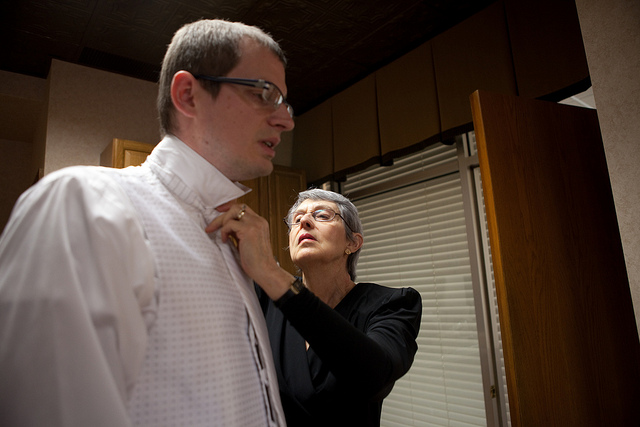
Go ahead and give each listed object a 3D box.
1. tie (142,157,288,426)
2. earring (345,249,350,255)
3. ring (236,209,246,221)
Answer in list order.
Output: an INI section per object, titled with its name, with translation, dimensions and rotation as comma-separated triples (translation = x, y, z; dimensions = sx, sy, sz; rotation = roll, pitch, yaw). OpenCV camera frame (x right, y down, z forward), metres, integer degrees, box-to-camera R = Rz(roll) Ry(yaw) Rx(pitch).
[tie]
translation = -0.414, -0.158, 1.600
dimensions = 0.172, 1.691, 0.220
rotation = 7, -32, -39
[earring]
translation = 0.138, 0.194, 2.344
dimensions = 0.018, 0.022, 0.045
rotation = -4, -14, 19
[ring]
translation = -0.257, 0.002, 1.482
dimensions = 0.009, 0.030, 0.029
rotation = 31, 34, 14
